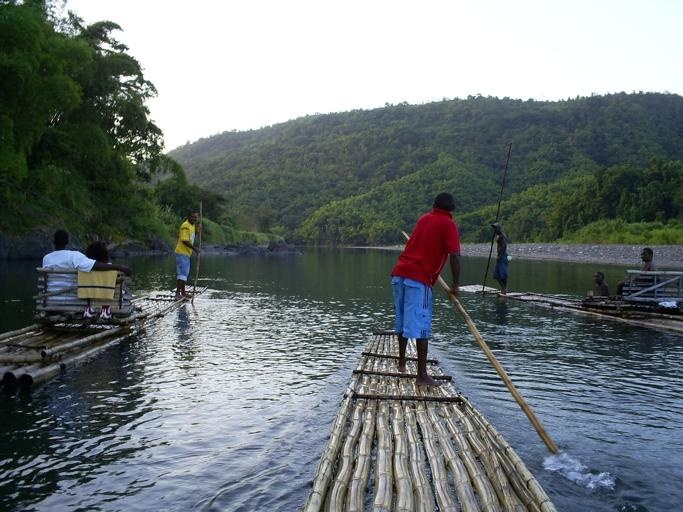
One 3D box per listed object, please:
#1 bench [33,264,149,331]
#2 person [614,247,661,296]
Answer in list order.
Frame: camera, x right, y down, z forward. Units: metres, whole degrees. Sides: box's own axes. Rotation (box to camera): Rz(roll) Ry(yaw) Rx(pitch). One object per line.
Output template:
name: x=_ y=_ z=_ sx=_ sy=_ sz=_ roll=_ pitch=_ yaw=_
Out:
bench: x=-4.700 y=0.775 z=10.615 sx=1.063 sy=0.741 sz=1.433 roll=0 pitch=-5 yaw=-3
person: x=7.305 y=0.493 z=14.481 sx=0.806 sy=1.480 sz=0.611 roll=7 pitch=-14 yaw=36
